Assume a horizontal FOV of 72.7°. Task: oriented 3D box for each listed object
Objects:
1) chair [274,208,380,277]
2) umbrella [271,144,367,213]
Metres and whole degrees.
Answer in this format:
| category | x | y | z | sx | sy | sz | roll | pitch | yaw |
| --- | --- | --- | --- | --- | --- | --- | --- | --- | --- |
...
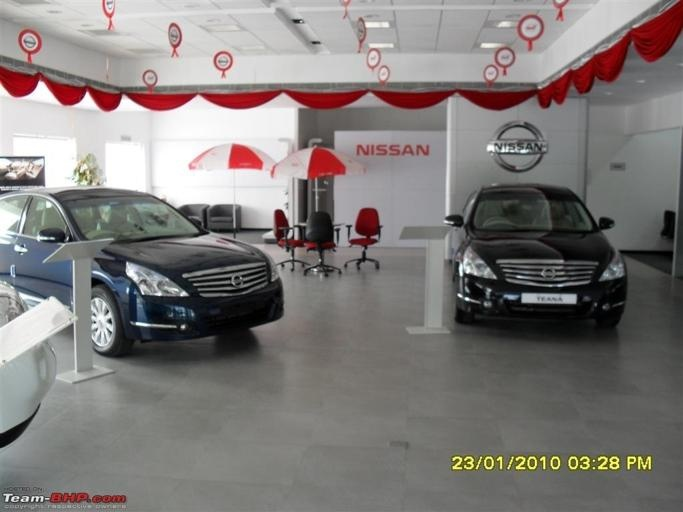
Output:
| category | x | y | z | sx | sy | sz | roll | pitch | yaw |
| --- | --- | --- | --- | --- | --- | --- | --- | --- | --- |
| chair | -0.498 | -0.430 | 10.576 | 2.288 | 1.323 | 3.028 | -5 | 8 | -23 |
| umbrella | -0.467 | -1.733 | 10.396 | 1.219 | 1.094 | 1.275 | 3 | 14 | 17 |
